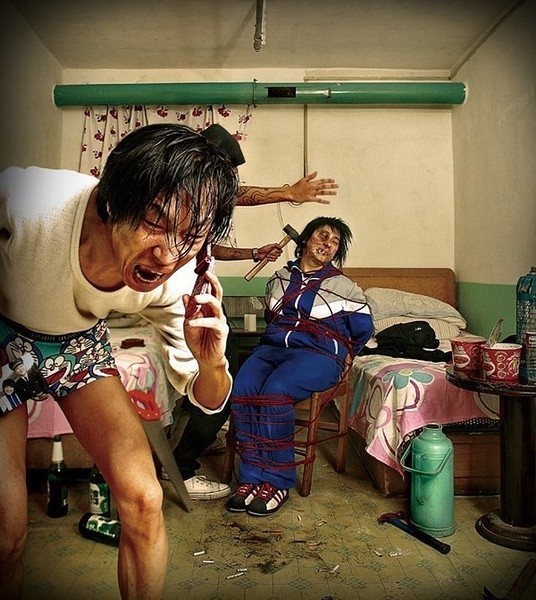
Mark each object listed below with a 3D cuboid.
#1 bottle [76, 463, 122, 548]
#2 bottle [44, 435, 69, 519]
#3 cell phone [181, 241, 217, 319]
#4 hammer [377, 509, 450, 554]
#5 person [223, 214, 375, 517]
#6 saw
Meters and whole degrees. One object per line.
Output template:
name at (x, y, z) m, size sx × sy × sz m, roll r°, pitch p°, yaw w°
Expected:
bottle at (-0.517, 0.649, 1.611) m, size 0.126 × 0.212 × 0.135 m, roll 1°, pitch 5°, yaw 0°
bottle at (-0.726, 0.609, 1.744) m, size 0.071 × 0.269 × 0.069 m, roll -5°, pitch -15°, yaw -1°
cell phone at (-0.126, -0.038, 0.966) m, size 0.045 × 0.135 × 0.060 m, roll 3°, pitch 9°, yaw 1°
hammer at (0.477, 0.748, 1.635) m, size 0.085 × 0.020 × 0.273 m, roll 0°, pitch 1°, yaw -35°
person at (-0.039, 0.184, 2.300) m, size 0.710 × 1.018 × 0.804 m, roll 1°, pitch 1°, yaw 43°
saw at (-0.258, 0.401, 1.316) m, size 0.043 × 0.381 × 0.086 m, roll -32°, pitch -4°, yaw 14°
